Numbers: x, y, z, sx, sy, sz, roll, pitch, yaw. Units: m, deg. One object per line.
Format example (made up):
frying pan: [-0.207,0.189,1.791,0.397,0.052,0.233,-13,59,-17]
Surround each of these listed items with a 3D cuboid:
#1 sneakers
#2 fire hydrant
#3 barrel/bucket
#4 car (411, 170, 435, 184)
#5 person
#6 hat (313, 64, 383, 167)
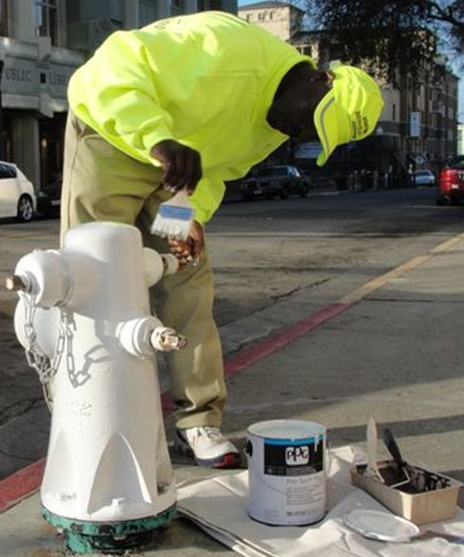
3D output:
sneakers: [-0.104,0.611,3.380,0.124,0.156,0.344,3,3,-31]
fire hydrant: [-0.394,0.318,2.608,0.481,0.958,0.345,1,4,-9]
barrel/bucket: [0.168,0.595,2.751,0.250,0.286,0.254,1,4,0]
car: [12.011,-6.179,56.819,1.142,0.942,2.740,3,16,18]
person: [-0.094,-0.162,3.255,1.091,1.542,1.047,7,8,6]
hat: [0.427,-0.628,3.318,0.206,0.288,0.297,-28,18,-31]
